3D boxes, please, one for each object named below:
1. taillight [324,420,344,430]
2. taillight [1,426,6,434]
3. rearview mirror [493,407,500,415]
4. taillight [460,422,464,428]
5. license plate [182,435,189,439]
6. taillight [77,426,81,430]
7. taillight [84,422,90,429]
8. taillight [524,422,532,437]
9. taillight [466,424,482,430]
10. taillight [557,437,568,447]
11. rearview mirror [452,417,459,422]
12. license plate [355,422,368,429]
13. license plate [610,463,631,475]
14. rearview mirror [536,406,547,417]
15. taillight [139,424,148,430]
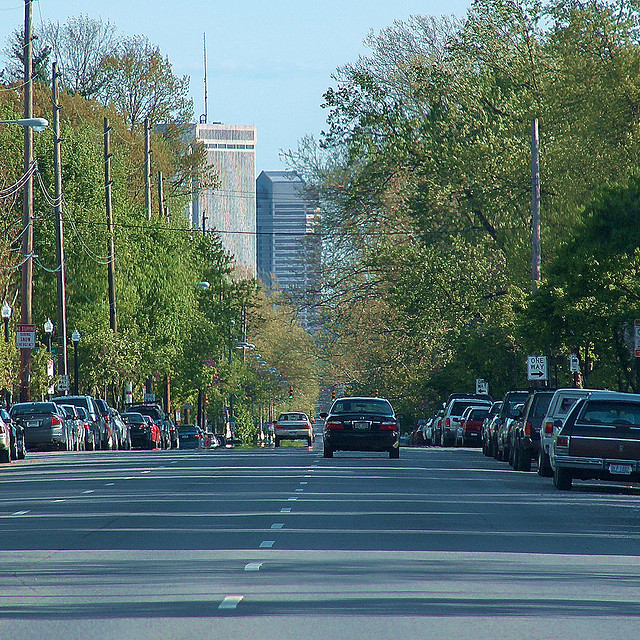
[{"bbox_3d":[0.328,2.388,47.961,0.436,0.214,0.140,-1,-1,30],"label":"taillight"},{"bbox_3d":[-6.981,2.435,46.540,0.057,0.170,0.255,0,-1,5],"label":"taillight"},{"bbox_3d":[4.696,2.482,56.837,0.222,0.279,0.141,-1,-17,6],"label":"rearview mirror"},{"bbox_3d":[4.396,3.303,66.149,0.114,0.136,0.129,3,8,10],"label":"taillight"},{"bbox_3d":[-5.249,4.583,82.417,0.243,0.141,0.250,0,-1,-5],"label":"license plate"},{"bbox_3d":[-6.655,2.979,58.201,0.102,0.146,0.112,1,1,-20],"label":"taillight"},{"bbox_3d":[-6.627,3.010,59.983,0.098,0.199,0.055,-1,17,-8],"label":"taillight"},{"bbox_3d":[4.327,2.310,44.233,0.154,0.315,0.438,0,-1,5],"label":"taillight"},{"bbox_3d":[4.647,3.278,64.416,0.151,0.164,0.764,0,-1,-29],"label":"taillight"},{"bbox_3d":[4.187,2.125,36.773,0.200,0.239,0.117,1,-7,0],"label":"taillight"},{"bbox_3d":[4.425,3.302,69.574,0.256,0.149,0.157,-1,-2,39],"label":"rearview mirror"},{"bbox_3d":[0.913,2.401,47.769,0.296,0.141,0.080,-1,-1,24],"label":"license plate"},{"bbox_3d":[5.148,2.575,36.442,0.351,0.187,0.066,-1,-1,9],"label":"license plate"},{"bbox_3d":[4.589,1.913,44.021,0.177,0.212,0.048,0,-9,3],"label":"rearview mirror"},{"bbox_3d":[-5.785,3.503,69.039,0.090,0.136,0.251,2,1,-42],"label":"taillight"}]
